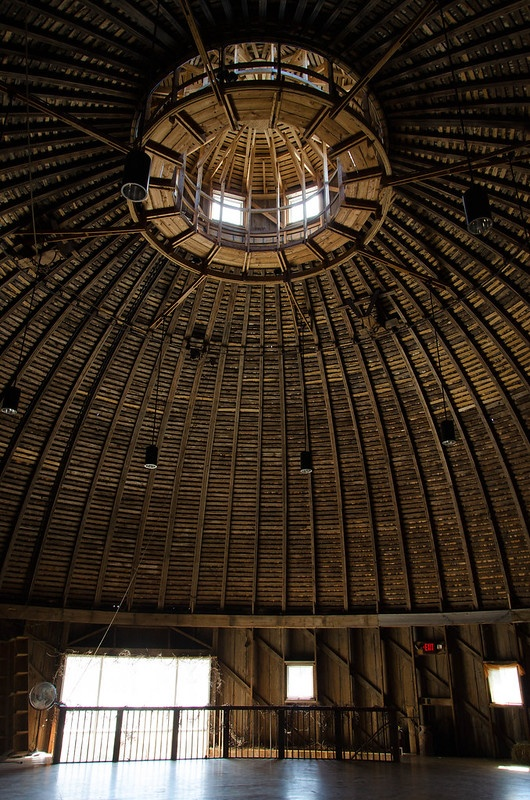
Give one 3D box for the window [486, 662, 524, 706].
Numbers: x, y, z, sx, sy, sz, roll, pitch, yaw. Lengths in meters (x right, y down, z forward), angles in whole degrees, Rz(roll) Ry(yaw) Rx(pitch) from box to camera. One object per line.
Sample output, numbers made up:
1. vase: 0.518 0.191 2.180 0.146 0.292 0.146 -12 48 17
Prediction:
1. window: 5.820 6.910 13.220 0.939 1.146 0.085 -20 -41 39
